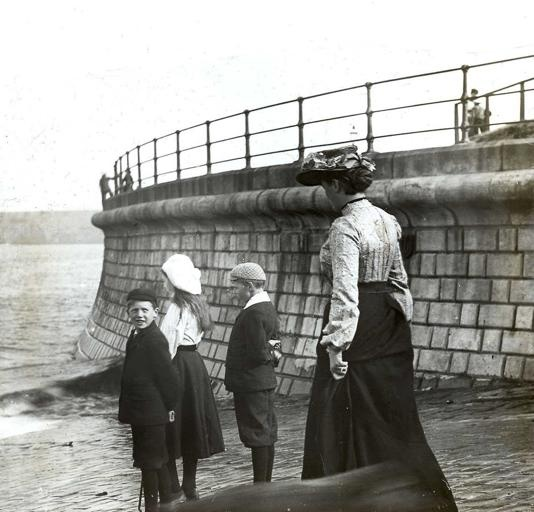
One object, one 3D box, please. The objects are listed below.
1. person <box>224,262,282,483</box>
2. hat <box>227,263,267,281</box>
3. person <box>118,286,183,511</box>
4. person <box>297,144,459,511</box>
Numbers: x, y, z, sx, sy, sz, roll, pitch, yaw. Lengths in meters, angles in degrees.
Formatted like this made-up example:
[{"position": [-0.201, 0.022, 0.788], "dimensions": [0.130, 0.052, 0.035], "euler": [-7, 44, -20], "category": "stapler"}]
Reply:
[{"position": [-0.094, 0.746, 5.747], "dimensions": [0.353, 1.402, 0.297], "euler": [1, -2, -2], "category": "person"}, {"position": [-0.124, 0.097, 5.745], "dimensions": [0.168, 0.083, 0.120], "euler": [-2, 2, 10], "category": "hat"}, {"position": [-0.720, 0.872, 5.427], "dimensions": [0.352, 1.354, 0.289], "euler": [1, -2, -6], "category": "person"}, {"position": [0.536, 0.350, 4.800], "dimensions": [0.761, 1.888, 0.412], "euler": [1, -2, -1], "category": "person"}]
